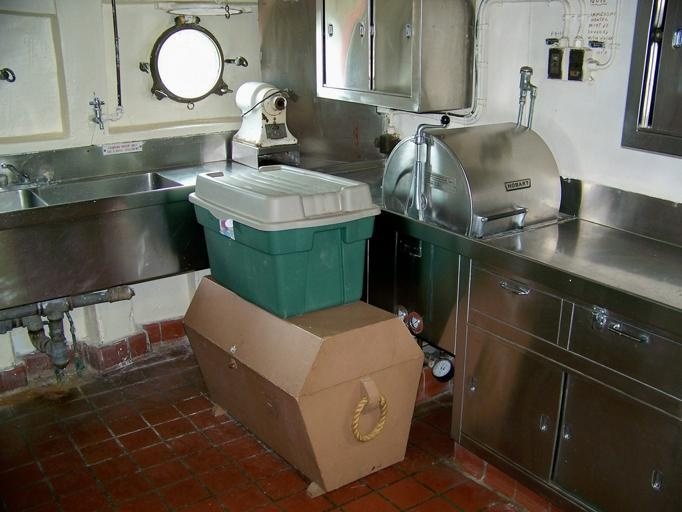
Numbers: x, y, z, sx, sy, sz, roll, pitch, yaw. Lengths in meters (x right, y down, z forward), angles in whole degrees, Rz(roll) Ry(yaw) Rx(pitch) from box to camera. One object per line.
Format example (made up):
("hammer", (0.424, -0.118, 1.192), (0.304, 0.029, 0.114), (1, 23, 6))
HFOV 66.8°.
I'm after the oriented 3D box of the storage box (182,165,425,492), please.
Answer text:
("storage box", (-0.255, 0.207, 3.246), (1.037, 1.778, 1.815), (-10, 20, -29))
